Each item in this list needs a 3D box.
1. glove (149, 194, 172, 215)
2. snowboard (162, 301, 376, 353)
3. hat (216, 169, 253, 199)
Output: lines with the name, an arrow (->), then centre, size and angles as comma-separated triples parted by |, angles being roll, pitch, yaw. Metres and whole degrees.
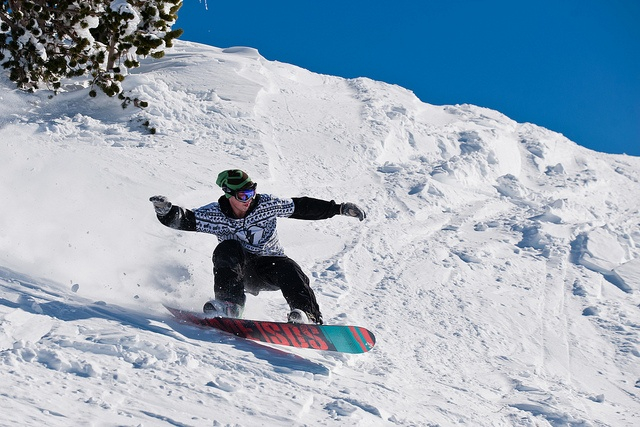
glove -> -2.980, -0.147, 20.894 | 0.428, 0.355, 0.209 | 17, 24, -1
snowboard -> -1.102, 2.156, 20.998 | 5.674, 0.542, 0.511 | 5, 9, -5
hat -> -1.582, -0.568, 21.160 | 0.723, 0.463, 0.479 | -10, 20, 13
